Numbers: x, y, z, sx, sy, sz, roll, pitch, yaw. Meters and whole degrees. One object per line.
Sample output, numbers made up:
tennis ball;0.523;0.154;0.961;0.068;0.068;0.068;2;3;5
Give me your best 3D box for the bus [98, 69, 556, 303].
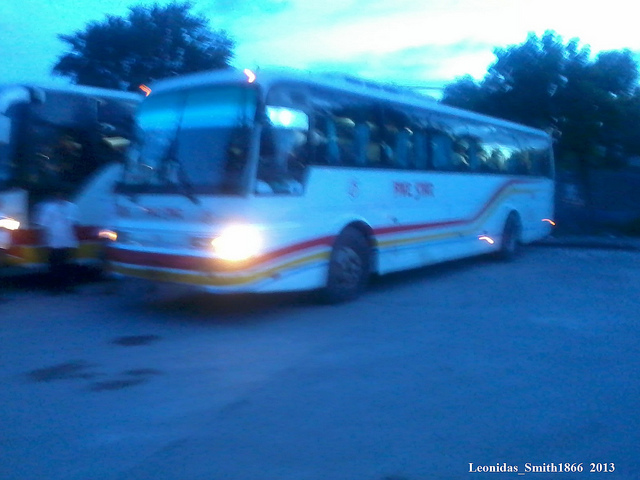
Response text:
bus;2.194;-1.175;10.589;2.434;3.768;12.869;8;10;42
